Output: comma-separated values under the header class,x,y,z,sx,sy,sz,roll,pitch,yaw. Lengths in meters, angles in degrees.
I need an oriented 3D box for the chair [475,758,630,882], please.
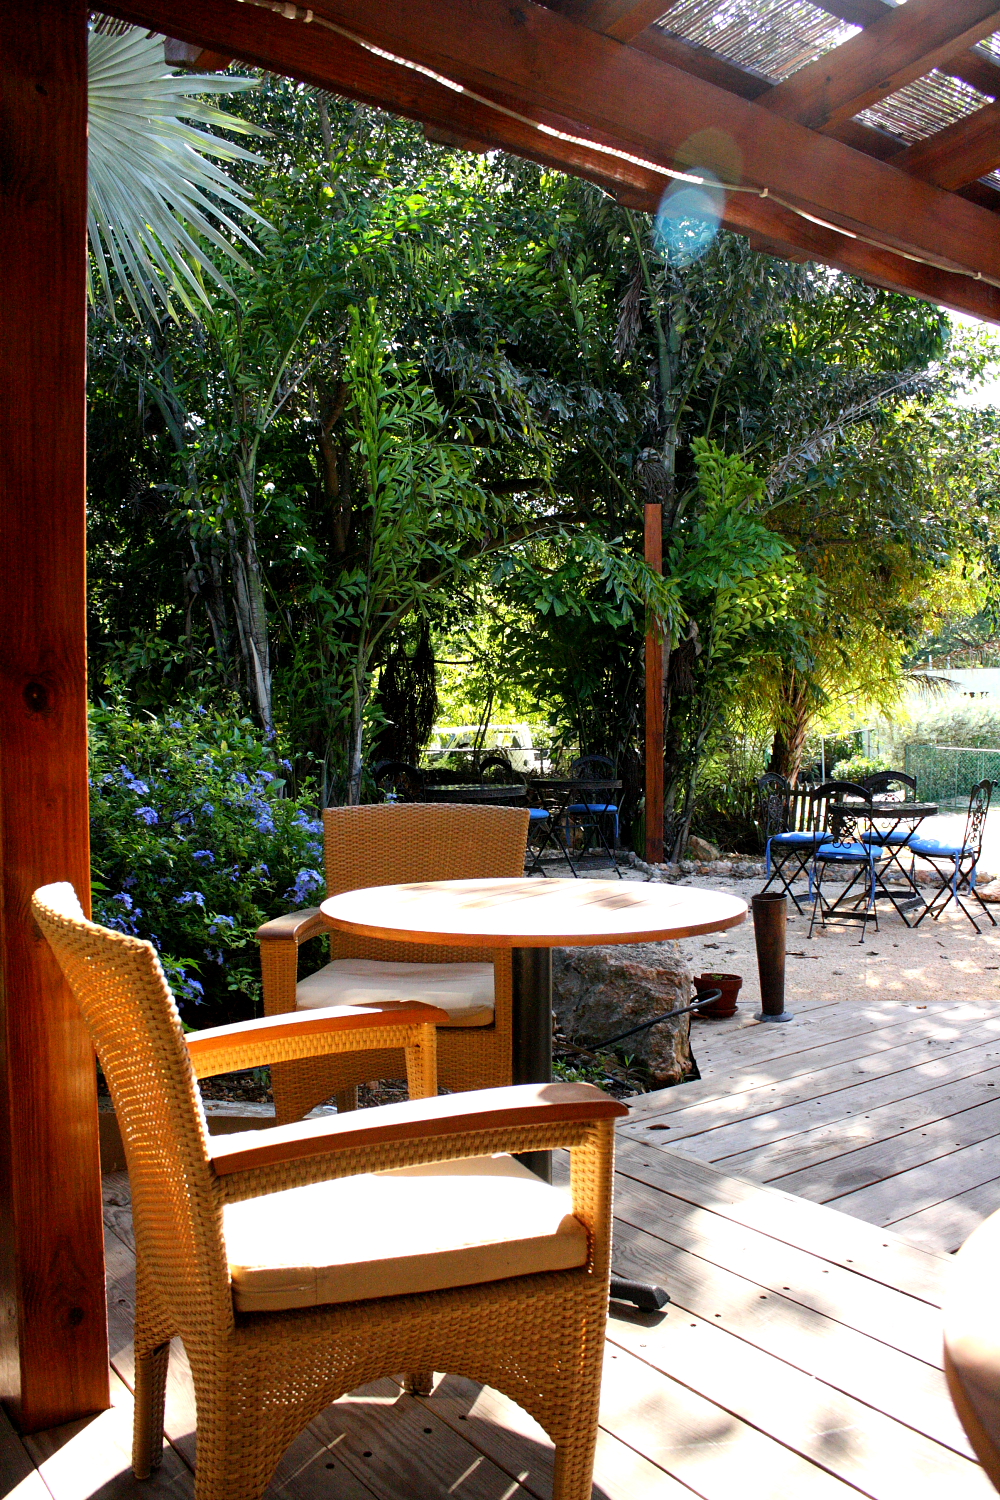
class,x,y,z,sx,sy,sz,roll,pitch,yaw
chair,0.645,0.603,9.888,1.039,1.157,1.074,-5,-6,44
